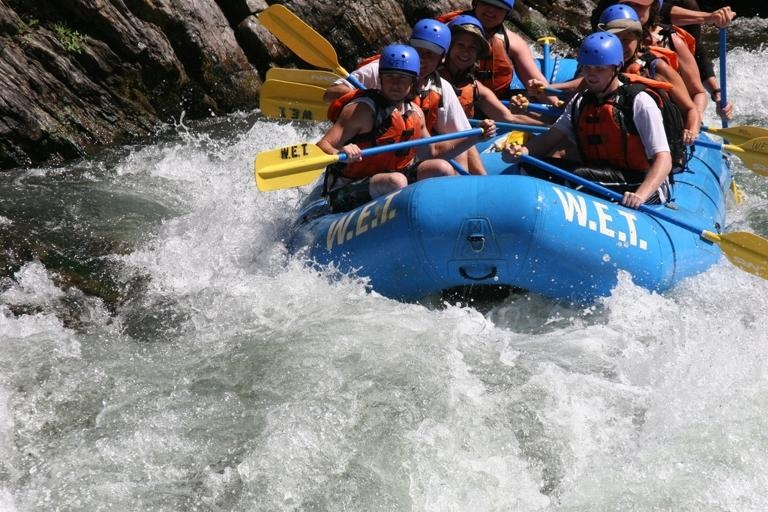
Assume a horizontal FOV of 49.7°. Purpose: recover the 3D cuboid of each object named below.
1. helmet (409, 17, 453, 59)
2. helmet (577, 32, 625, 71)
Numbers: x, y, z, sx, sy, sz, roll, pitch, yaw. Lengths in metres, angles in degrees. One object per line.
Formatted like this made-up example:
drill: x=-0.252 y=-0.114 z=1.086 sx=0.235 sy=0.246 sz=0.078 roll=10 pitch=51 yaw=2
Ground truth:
helmet: x=0.513 y=-2.066 z=7.640 sx=0.374 sy=0.284 sz=0.277 roll=23 pitch=50 yaw=21
helmet: x=1.836 y=-1.767 z=7.053 sx=0.271 sy=0.361 sz=0.291 roll=5 pitch=79 yaw=26
